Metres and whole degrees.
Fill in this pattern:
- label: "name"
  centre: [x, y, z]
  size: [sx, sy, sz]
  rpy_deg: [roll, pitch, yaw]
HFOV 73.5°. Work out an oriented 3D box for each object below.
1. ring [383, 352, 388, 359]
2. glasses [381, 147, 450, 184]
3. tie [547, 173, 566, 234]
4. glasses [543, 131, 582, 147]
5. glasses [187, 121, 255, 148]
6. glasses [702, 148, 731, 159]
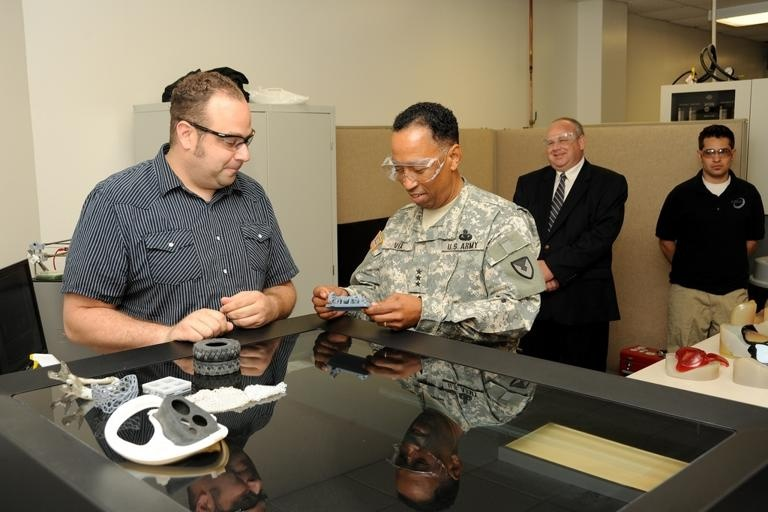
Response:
- label: "ring"
  centre: [0.005, 0.288, 1.482]
  size: [0.009, 0.029, 0.007]
  rpy_deg: [-6, 28, 9]
- label: "glasses"
  centre: [0.118, -0.381, 2.019]
  size: [0.162, 0.063, 0.176]
  rpy_deg: [2, 24, 31]
- label: "tie"
  centre: [1.348, -0.415, 4.009]
  size: [0.094, 0.557, 0.060]
  rpy_deg: [13, -7, 39]
- label: "glasses"
  centre: [1.381, -0.903, 3.971]
  size: [0.240, 0.105, 0.084]
  rpy_deg: [3, 13, 20]
- label: "glasses"
  centre: [-0.601, -0.452, 1.908]
  size: [0.130, 0.035, 0.127]
  rpy_deg: [25, 17, 11]
- label: "glasses"
  centre: [2.527, -0.778, 3.913]
  size: [0.201, 0.100, 0.094]
  rpy_deg: [4, 13, 21]
